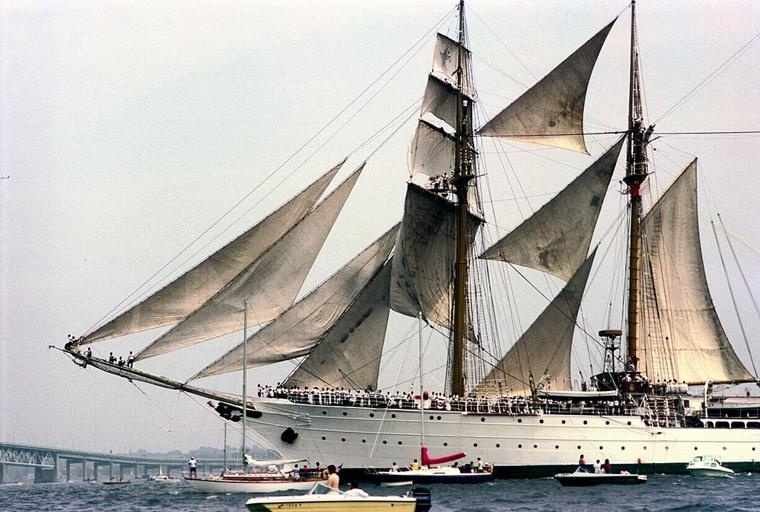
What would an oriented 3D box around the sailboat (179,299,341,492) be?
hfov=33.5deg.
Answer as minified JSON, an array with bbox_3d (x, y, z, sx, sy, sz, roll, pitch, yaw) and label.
[{"bbox_3d":[-6.955,7.887,71.527,6.260,11.191,6.503,16,-26,-38],"label":"sailboat"}]

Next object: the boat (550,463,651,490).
[{"bbox_3d":[12.375,12.562,71.592,4.745,0.986,0.626,-1,-20,-1],"label":"boat"}]
